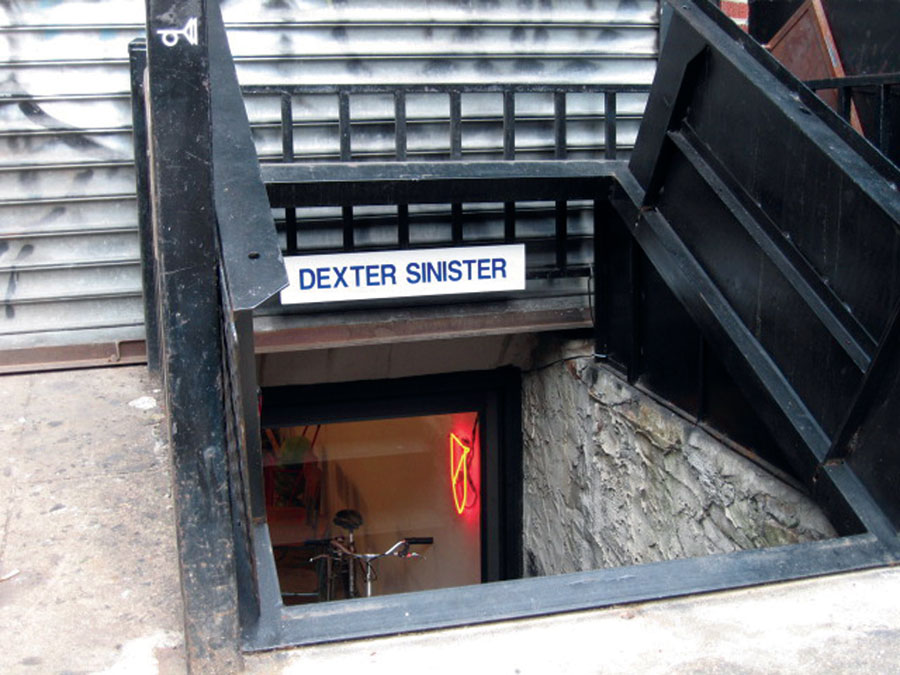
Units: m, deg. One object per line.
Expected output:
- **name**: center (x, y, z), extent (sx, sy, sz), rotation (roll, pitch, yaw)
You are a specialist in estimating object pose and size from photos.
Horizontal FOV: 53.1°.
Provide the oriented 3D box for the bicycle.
- **bicycle**: center (-0.642, 1.478, 5.863), extent (0.662, 0.794, 1.103), rotation (2, -8, -10)
